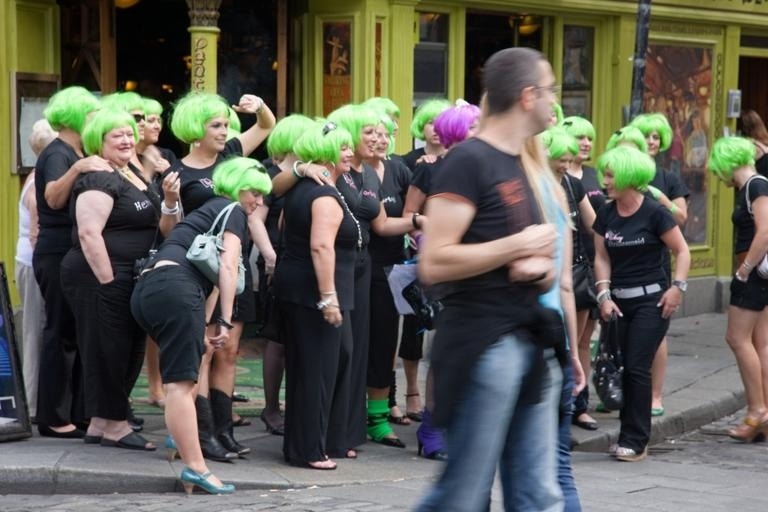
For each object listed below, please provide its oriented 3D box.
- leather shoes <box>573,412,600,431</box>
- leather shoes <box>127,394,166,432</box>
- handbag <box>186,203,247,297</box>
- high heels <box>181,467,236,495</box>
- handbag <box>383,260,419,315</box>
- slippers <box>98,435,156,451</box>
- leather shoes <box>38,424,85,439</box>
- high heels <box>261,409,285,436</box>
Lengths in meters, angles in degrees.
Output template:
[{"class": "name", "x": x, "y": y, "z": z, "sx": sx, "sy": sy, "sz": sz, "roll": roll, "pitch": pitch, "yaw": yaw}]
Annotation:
[{"class": "leather shoes", "x": 1.815, "y": 1.511, "z": 8.315, "sx": 0.306, "sy": 0.118, "sz": 0.105, "roll": 8, "pitch": 13, "yaw": 39}, {"class": "leather shoes", "x": -2.137, "y": 1.386, "z": 8.050, "sx": 0.556, "sy": 0.227, "sz": 0.175, "roll": -5, "pitch": -1, "yaw": 22}, {"class": "handbag", "x": -1.209, "y": -0.046, "z": 6.396, "sx": 0.288, "sy": 0.557, "sz": 0.467, "roll": -1, "pitch": -35, "yaw": 38}, {"class": "high heels", "x": -1.288, "y": 1.594, "z": 6.510, "sx": 0.471, "sy": 0.230, "sz": 0.153, "roll": 0, "pitch": 2, "yaw": -14}, {"class": "handbag", "x": 0.037, "y": 0.263, "z": 7.184, "sx": 0.359, "sy": 0.468, "sz": 0.408, "roll": -1, "pitch": -3, "yaw": 15}, {"class": "slippers", "x": -1.989, "y": 1.409, "z": 6.957, "sx": 0.430, "sy": 0.121, "sz": 0.154, "roll": 2, "pitch": -2, "yaw": -4}, {"class": "leather shoes", "x": -2.590, "y": 1.398, "z": 7.284, "sx": 0.408, "sy": 0.114, "sz": 0.137, "roll": -1, "pitch": 0, "yaw": -6}, {"class": "high heels", "x": -0.972, "y": 1.437, "z": 7.809, "sx": 0.120, "sy": 0.151, "sz": 0.358, "roll": -2, "pitch": 1, "yaw": -27}]
